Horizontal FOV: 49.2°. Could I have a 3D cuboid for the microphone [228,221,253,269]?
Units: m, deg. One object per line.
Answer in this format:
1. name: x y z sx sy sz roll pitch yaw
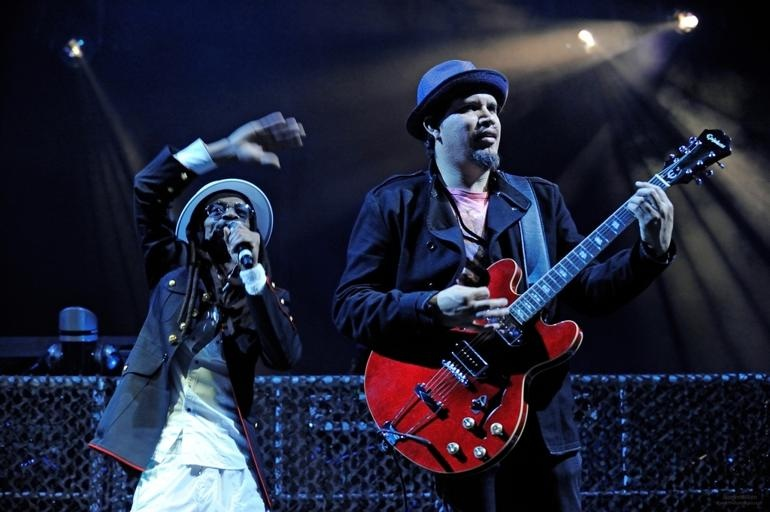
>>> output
1. microphone: -1.194 -0.080 6.976 0.137 0.148 0.496 11 42 -30
